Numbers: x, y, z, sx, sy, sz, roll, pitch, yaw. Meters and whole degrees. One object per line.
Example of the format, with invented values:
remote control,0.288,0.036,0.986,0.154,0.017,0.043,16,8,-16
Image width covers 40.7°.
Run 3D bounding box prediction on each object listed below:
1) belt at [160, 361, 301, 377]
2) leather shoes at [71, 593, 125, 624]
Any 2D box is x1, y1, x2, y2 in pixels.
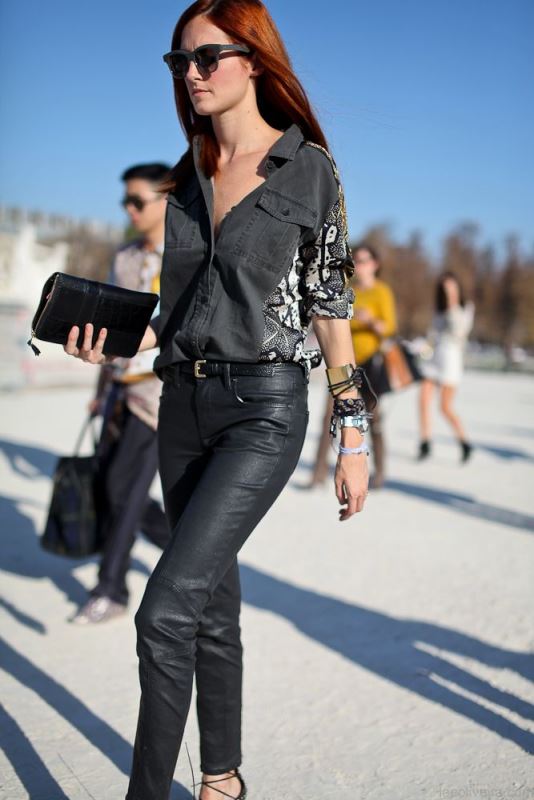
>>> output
belt,-0.073,-0.065,1.571,0.306,0.040,0.145,0,4,1
leather shoes,-0.736,0.940,3.220,0.110,0.075,0.190,-4,-9,21
